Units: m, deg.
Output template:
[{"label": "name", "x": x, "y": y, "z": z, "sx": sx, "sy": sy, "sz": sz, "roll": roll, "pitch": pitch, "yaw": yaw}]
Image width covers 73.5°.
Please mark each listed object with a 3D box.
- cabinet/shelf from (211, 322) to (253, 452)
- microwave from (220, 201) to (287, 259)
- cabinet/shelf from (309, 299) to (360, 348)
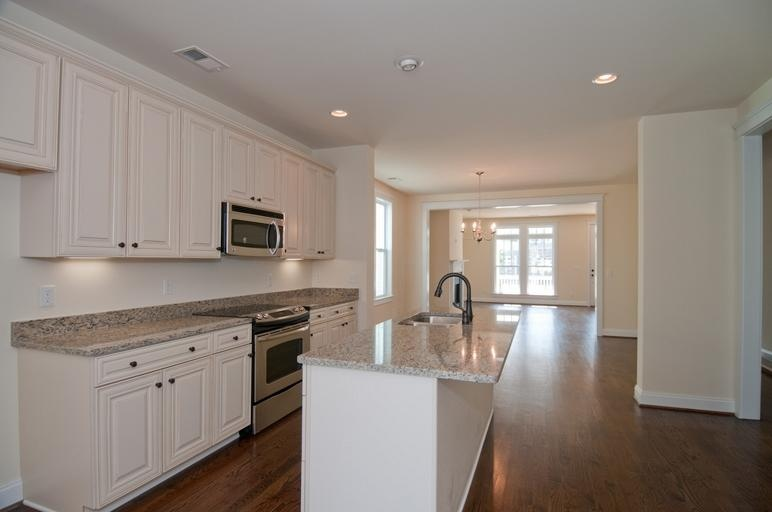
[{"label": "cabinet/shelf", "x": -1.385, "y": 1.114, "z": 4.624, "sx": 0.139, "sy": 0.927, "sz": 0.557, "roll": 6, "pitch": 14, "yaw": 26}, {"label": "microwave", "x": -1.446, "y": -0.236, "z": 5.274, "sx": 0.459, "sy": 0.494, "sz": 0.833, "roll": 1, "pitch": -2, "yaw": 26}, {"label": "cabinet/shelf", "x": -0.682, "y": 0.800, "z": 5.924, "sx": 0.257, "sy": 0.497, "sz": 0.895, "roll": 2, "pitch": 5, "yaw": 32}]
